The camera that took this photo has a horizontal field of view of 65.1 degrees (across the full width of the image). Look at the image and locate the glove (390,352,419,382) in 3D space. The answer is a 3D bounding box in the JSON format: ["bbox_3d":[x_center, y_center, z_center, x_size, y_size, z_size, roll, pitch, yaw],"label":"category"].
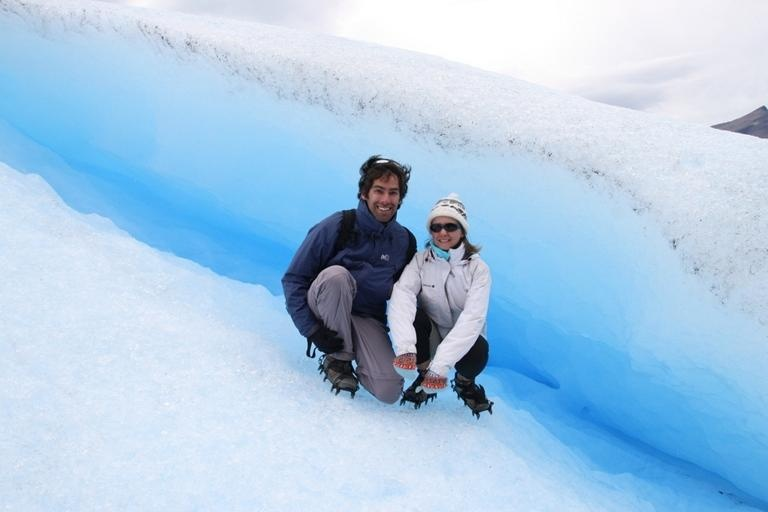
[{"bbox_3d":[0.144,0.845,4.547,0.164,0.284,0.140,10,34,-12],"label":"glove"}]

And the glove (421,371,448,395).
[{"bbox_3d":[0.370,0.943,4.496,0.148,0.145,0.176,11,4,-42],"label":"glove"}]

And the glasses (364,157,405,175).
[{"bbox_3d":[-0.008,-0.727,4.777,0.172,0.084,0.223,4,-6,-4],"label":"glasses"}]

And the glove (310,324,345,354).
[{"bbox_3d":[-0.451,0.654,4.652,0.188,0.100,0.256,8,-19,42],"label":"glove"}]

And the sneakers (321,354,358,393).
[{"bbox_3d":[-0.342,0.940,4.692,0.307,0.212,0.226,17,32,-1],"label":"sneakers"}]

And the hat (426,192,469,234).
[{"bbox_3d":[0.522,-0.332,4.854,0.285,0.314,0.350,5,-20,12],"label":"hat"}]
